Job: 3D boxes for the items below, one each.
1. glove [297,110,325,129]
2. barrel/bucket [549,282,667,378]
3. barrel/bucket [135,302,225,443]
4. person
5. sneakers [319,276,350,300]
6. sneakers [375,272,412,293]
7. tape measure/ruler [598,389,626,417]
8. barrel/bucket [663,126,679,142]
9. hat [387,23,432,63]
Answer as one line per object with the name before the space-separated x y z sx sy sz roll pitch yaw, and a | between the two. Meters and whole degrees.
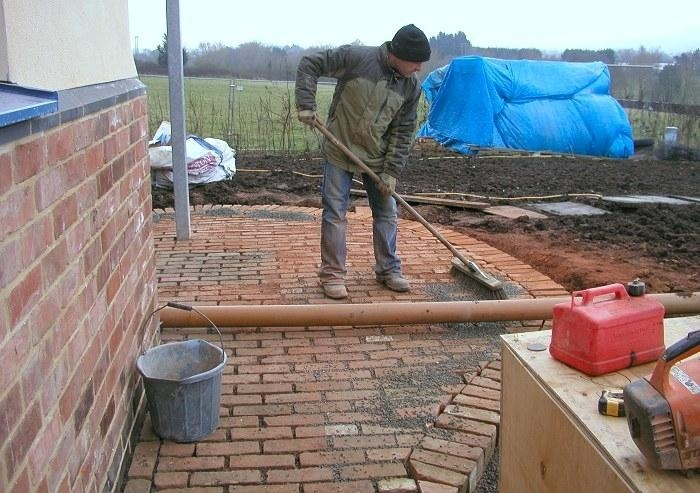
glove | -0.330 -1.031 4.312 0.152 0.051 0.116 20 48 -10
barrel/bucket | 1.018 0.309 2.104 0.371 0.305 0.291 -9 10 -23
barrel/bucket | -0.885 0.647 2.852 0.454 0.702 0.450 4 15 -1
person | 0.105 -0.697 4.472 1.071 2.192 0.659 -2 19 -5
sneakers | -0.123 0.363 4.516 0.109 0.114 0.276 -4 10 -30
sneakers | 0.395 0.300 4.758 0.133 0.150 0.335 -7 15 -45
tape measure/ruler | 0.911 0.521 1.831 0.083 0.058 0.167 10 22 28
barrel/bucket | 7.997 -2.791 13.157 0.260 0.380 0.196 9 21 24
hat | 0.472 -1.647 4.192 0.369 0.246 0.420 -8 36 -14
